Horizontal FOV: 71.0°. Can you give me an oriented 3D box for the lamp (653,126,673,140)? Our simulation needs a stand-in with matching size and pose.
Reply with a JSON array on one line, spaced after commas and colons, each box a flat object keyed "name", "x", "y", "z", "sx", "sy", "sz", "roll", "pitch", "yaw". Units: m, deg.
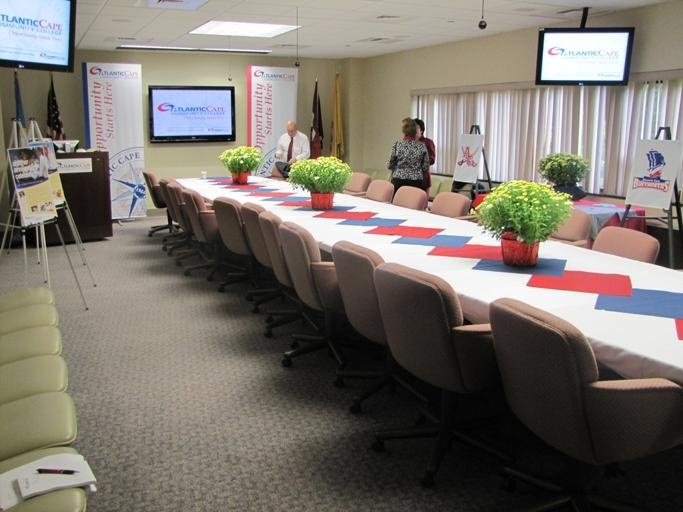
[{"name": "lamp", "x": 3.938, "y": -1.518, "z": 5.864, "sx": 0.185, "sy": 0.157, "sz": 0.959, "roll": 11, "pitch": 19, "yaw": 31}]

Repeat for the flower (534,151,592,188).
[{"name": "flower", "x": 2.942, "y": -1.154, "z": 6.372, "sx": 0.524, "sy": 0.371, "sz": 0.501, "roll": -4, "pitch": 13, "yaw": -31}]

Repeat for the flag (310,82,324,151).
[{"name": "flag", "x": -0.585, "y": -3.173, "z": 11.058, "sx": 0.314, "sy": 1.724, "sz": 0.522, "roll": 0, "pitch": 16, "yaw": -2}]

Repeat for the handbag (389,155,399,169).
[{"name": "handbag", "x": 0.759, "y": -1.386, "z": 7.037, "sx": 0.046, "sy": 0.153, "sz": 0.157, "roll": 24, "pitch": -24, "yaw": -29}]

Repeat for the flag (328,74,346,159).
[{"name": "flag", "x": -0.099, "y": -3.268, "z": 11.199, "sx": 0.352, "sy": 1.962, "sz": 0.653, "roll": 0, "pitch": 16, "yaw": -1}]

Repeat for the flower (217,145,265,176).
[{"name": "flower", "x": -1.395, "y": -1.402, "z": 6.895, "sx": 0.617, "sy": 0.441, "sz": 0.652, "roll": -10, "pitch": 14, "yaw": -37}]

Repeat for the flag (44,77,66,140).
[{"name": "flag", "x": -5.299, "y": -2.736, "z": 8.731, "sx": 0.272, "sy": 1.148, "sz": 0.692, "roll": -9, "pitch": 19, "yaw": -29}]

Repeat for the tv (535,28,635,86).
[{"name": "tv", "x": 3.210, "y": -2.615, "z": 6.229, "sx": 0.801, "sy": 0.528, "sz": 0.079, "roll": 8, "pitch": 23, "yaw": 23}]

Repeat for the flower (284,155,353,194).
[{"name": "flower", "x": -0.271, "y": -0.822, "z": 4.802, "sx": 0.443, "sy": 0.272, "sz": 0.409, "roll": -14, "pitch": 25, "yaw": -36}]
